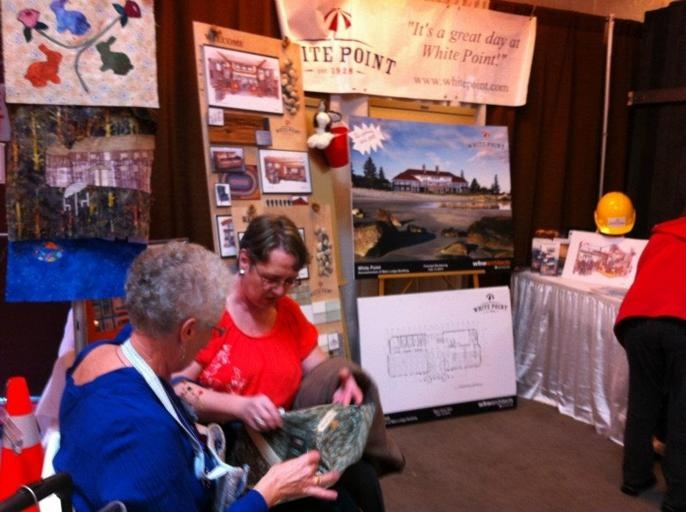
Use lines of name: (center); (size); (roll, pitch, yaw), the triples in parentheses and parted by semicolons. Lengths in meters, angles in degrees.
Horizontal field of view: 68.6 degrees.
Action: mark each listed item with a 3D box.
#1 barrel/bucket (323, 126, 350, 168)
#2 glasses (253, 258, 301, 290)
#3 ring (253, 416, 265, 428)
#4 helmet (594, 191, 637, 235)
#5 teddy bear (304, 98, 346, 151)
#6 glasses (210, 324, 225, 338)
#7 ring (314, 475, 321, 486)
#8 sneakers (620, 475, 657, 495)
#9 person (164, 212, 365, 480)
barrel/bucket: (-0.031, -0.642, 2.982); (0.204, 0.212, 0.203); (-4, 14, 1)
glasses: (-0.294, 0.085, 2.023); (0.121, 0.041, 0.124); (4, 27, -40)
ring: (-0.288, 0.569, 1.731); (0.026, 0.036, 0.031); (-15, -18, 36)
helmet: (1.952, -0.309, 3.615); (0.232, 0.185, 0.332); (0, 47, 28)
teddy bear: (-0.121, -0.774, 3.011); (0.300, 0.362, 0.225); (-3, 4, -9)
glasses: (-0.403, 0.239, 1.606); (0.058, 0.027, 0.083); (6, -11, -21)
ring: (-0.085, 0.743, 1.679); (0.022, 0.013, 0.028); (13, 19, 2)
sneakers: (1.608, 1.219, 2.743); (0.180, 0.086, 0.078); (-12, 17, -19)
person: (-0.353, 0.244, 2.190); (0.729, 0.996, 0.756); (6, 11, 43)
